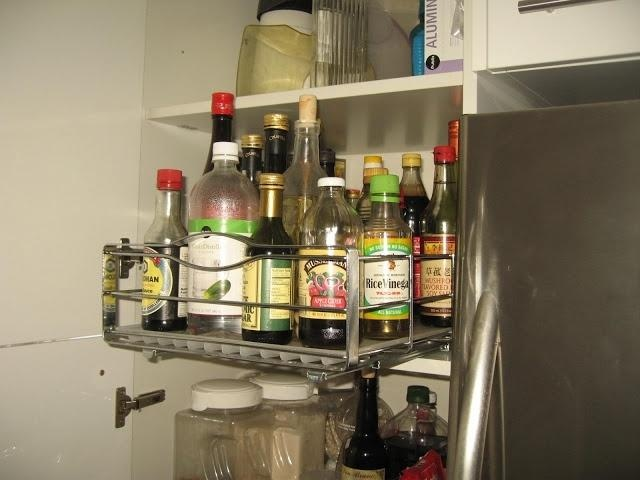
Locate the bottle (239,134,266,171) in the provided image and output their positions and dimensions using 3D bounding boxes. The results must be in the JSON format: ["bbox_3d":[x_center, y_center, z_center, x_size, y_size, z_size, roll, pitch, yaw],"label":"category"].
[{"bbox_3d":[-0.119,-0.157,1.101,0.059,0.092,0.059,0,-3,0],"label":"bottle"}]

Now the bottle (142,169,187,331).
[{"bbox_3d":[-0.260,0.019,1.014,0.079,0.270,0.070,6,-6,-42],"label":"bottle"}]

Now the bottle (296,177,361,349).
[{"bbox_3d":[0.015,0.029,0.902,0.097,0.249,0.210,0,-1,3],"label":"bottle"}]

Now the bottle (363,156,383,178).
[{"bbox_3d":[0.093,-0.135,1.116,0.042,0.039,0.042,1,-7,-3],"label":"bottle"}]

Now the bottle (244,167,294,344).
[{"bbox_3d":[-0.077,0.028,0.889,0.075,0.248,0.137,0,-1,-5],"label":"bottle"}]

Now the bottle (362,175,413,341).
[{"bbox_3d":[0.101,0.024,0.910,0.075,0.252,0.166,0,-1,6],"label":"bottle"}]

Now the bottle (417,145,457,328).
[{"bbox_3d":[0.191,-0.009,0.985,0.063,0.305,0.239,-1,-1,13],"label":"bottle"}]
